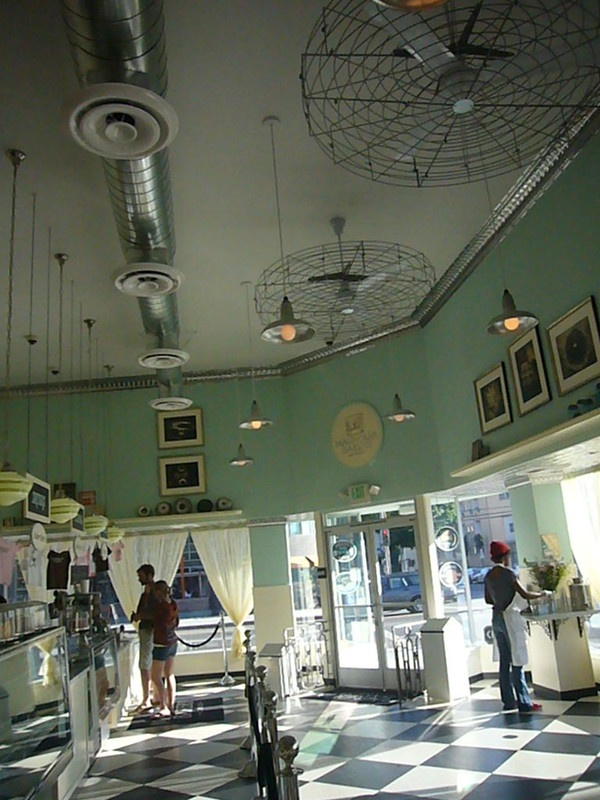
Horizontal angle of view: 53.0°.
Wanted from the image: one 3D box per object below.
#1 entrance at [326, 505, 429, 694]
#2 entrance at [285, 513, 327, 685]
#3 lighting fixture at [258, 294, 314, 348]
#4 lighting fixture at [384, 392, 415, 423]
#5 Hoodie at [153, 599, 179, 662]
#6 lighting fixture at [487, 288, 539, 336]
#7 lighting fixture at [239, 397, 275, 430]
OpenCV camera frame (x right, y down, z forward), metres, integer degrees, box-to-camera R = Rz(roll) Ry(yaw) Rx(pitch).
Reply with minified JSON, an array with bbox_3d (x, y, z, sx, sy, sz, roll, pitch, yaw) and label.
[{"bbox_3d":[1.038,2.888,8.894,0.444,2.554,1.770,4,-16,-38],"label":"entrance"},{"bbox_3d":[0.045,3.178,9.723,0.649,2.499,1.600,-6,-12,-2],"label":"entrance"},{"bbox_3d":[-0.092,-0.522,4.331,0.368,0.361,0.330,-6,-31,6],"label":"lighting fixture"},{"bbox_3d":[1.351,0.114,8.117,0.439,0.445,0.436,4,-5,-44],"label":"lighting fixture"},{"bbox_3d":[-1.666,2.880,7.532,0.363,0.721,0.263,1,-14,-29],"label":"Hoodie"},{"bbox_3d":[1.331,-0.592,3.898,0.282,0.362,0.394,-9,-12,15],"label":"lighting fixture"},{"bbox_3d":[-0.636,0.224,9.140,0.556,0.544,0.540,0,-8,-28],"label":"lighting fixture"}]
